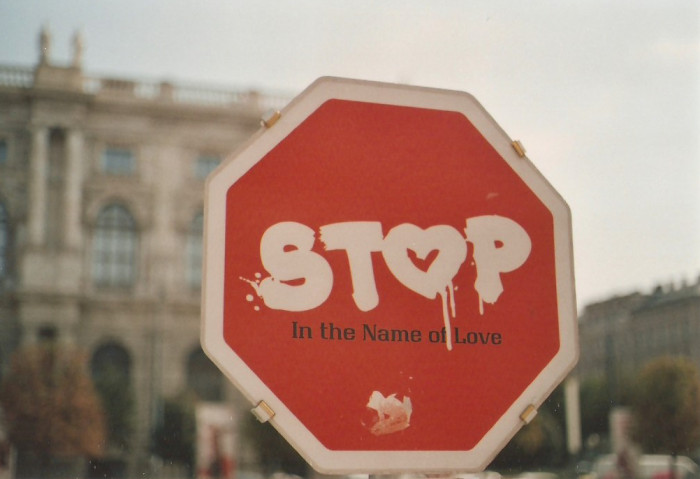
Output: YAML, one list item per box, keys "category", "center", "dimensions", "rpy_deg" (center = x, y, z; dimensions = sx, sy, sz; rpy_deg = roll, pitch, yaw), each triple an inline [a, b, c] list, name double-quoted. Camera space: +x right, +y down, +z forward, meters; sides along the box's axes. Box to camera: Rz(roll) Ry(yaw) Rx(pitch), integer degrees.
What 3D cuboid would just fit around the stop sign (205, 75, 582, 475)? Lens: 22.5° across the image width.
- category: "stop sign"
  center: [0.083, 0.162, 5.880]
  dimensions: [1.026, 1.146, 0.084]
  rpy_deg: [11, -14, -21]
